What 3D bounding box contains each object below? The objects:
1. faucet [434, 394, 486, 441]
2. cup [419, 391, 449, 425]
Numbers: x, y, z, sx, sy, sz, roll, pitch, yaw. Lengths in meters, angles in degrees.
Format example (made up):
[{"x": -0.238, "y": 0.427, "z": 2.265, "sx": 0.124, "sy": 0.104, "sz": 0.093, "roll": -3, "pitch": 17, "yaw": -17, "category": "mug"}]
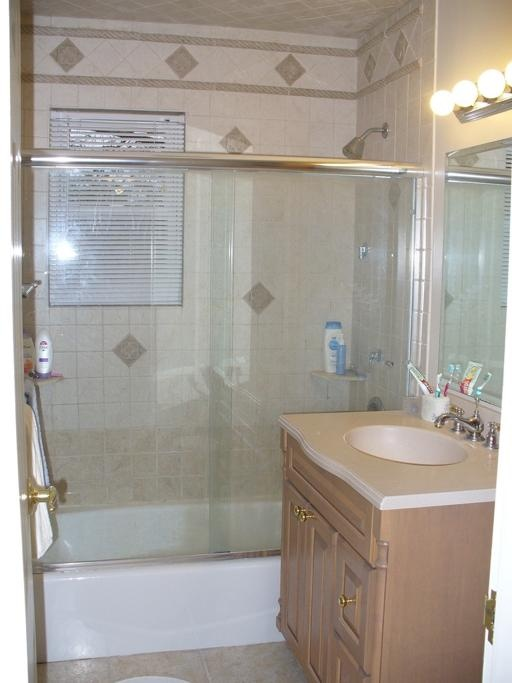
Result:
[{"x": 0.594, "y": 0.238, "z": 1.696, "sx": 0.178, "sy": 0.119, "sz": 0.059, "roll": -3, "pitch": 6, "yaw": -20, "category": "faucet"}, {"x": 0.587, "y": 0.216, "z": 1.903, "sx": 0.091, "sy": 0.095, "sz": 0.086, "roll": -1, "pitch": 8, "yaw": 0, "category": "cup"}]
